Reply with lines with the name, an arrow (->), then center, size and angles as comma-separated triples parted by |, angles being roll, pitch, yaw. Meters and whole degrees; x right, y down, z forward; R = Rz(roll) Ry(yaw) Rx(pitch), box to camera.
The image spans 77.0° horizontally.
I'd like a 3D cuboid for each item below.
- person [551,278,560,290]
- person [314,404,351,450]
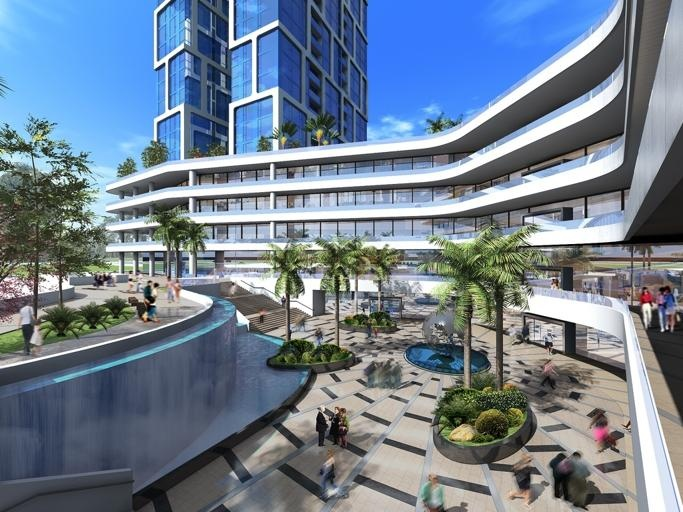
person -> 15.237, 1.849, 29.427 | 0.525, 0.614, 0.731 | 6, 15, 25
person -> -0.356, 7.991, 20.442 | 1.354, 1.710, 1.264 | 1, 14, 5
